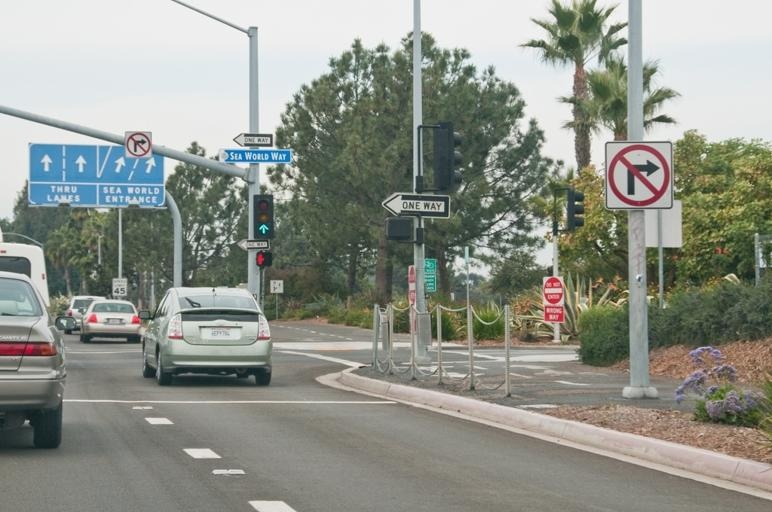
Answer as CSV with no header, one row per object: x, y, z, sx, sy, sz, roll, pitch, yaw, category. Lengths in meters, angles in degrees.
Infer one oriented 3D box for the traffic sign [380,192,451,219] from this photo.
0.801,-1.381,26.812,1.501,0.787,1.845,-2,-5,11,traffic sign

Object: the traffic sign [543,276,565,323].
5.462,1.429,34.110,0.611,1.460,0.901,-1,-4,4,traffic sign

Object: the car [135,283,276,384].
-3.917,1.736,22.342,2.766,2.189,1.795,-1,-4,-1,car

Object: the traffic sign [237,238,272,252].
-4.025,-0.332,30.936,0.804,0.338,1.206,0,-5,-13,traffic sign
